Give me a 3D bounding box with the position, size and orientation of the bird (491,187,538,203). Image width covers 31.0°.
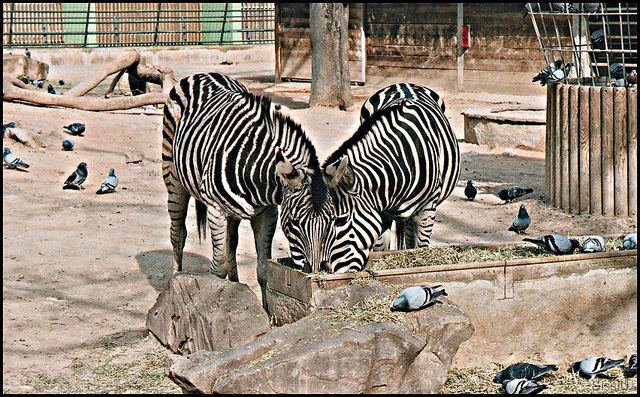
[{"bbox_3d":[3.594,-0.098,21.559,0.823,0.275,0.269,-12,5,3],"label":"bird"}]

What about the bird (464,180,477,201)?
[{"bbox_3d":[2.843,-0.147,21.881,0.225,0.376,0.437,2,5,7],"label":"bird"}]

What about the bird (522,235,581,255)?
[{"bbox_3d":[3.423,0.691,17.078,0.754,0.276,0.332,2,5,9],"label":"bird"}]

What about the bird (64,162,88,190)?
[{"bbox_3d":[-4.579,-0.421,21.673,0.608,0.405,0.236,-22,-18,28],"label":"bird"}]

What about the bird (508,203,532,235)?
[{"bbox_3d":[3.423,0.365,20.033,0.315,0.512,0.544,-11,5,-27],"label":"bird"}]

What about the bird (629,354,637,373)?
[{"bbox_3d":[4.449,2.353,16.531,0.085,0.206,0.150,10,-7,-39],"label":"bird"}]

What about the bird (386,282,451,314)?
[{"bbox_3d":[1.345,1.366,16.095,0.812,0.355,0.333,-24,-26,12],"label":"bird"}]

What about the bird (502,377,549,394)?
[{"bbox_3d":[2.833,2.594,16.197,0.488,0.186,0.230,-10,-5,19],"label":"bird"}]

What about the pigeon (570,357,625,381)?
[{"bbox_3d":[3.953,2.404,16.518,0.807,0.307,0.268,-10,-1,16],"label":"pigeon"}]

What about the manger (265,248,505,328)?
[{"bbox_3d":[0.954,1.159,16.600,2.714,0.634,1.360,-3,5,-19],"label":"manger"}]

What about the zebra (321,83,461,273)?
[{"bbox_3d":[1.100,-0.118,18.175,1.899,2.859,5.928,0,10,14],"label":"zebra"}]

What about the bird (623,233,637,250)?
[{"bbox_3d":[4.563,0.627,17.115,0.186,0.233,0.358,3,5,12],"label":"bird"}]

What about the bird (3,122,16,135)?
[{"bbox_3d":[-6.171,-1.406,23.321,0.244,0.225,0.868,0,5,-15],"label":"bird"}]

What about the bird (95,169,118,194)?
[{"bbox_3d":[-3.987,-0.308,21.929,0.403,0.420,0.498,1,5,-3],"label":"bird"}]

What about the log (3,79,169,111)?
[{"bbox_3d":[-5.281,-2.301,26.114,3.422,0.653,0.930,0,5,-16],"label":"log"}]

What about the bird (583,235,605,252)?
[{"bbox_3d":[4.007,0.673,17.051,0.288,0.219,0.420,3,5,13],"label":"bird"}]

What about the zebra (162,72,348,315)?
[{"bbox_3d":[-1.240,-0.006,18.268,1.577,3.336,5.303,-10,22,-24],"label":"zebra"}]

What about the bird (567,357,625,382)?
[{"bbox_3d":[3.885,2.390,16.530,0.829,0.314,0.267,-18,-31,8],"label":"bird"}]

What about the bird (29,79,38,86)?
[{"bbox_3d":[-7.329,-3.021,30.134,0.129,0.236,0.461,-1,9,-16],"label":"bird"}]

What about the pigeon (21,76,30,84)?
[{"bbox_3d":[-7.292,-2.982,29.324,0.151,0.312,0.610,4,12,-13],"label":"pigeon"}]

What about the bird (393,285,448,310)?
[{"bbox_3d":[1.372,1.362,16.044,0.675,0.298,0.308,-33,-46,7],"label":"bird"}]

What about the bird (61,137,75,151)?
[{"bbox_3d":[-5.058,-1.117,23.586,0.245,0.273,0.264,-2,-5,-10],"label":"bird"}]

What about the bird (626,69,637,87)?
[{"bbox_3d":[5.390,-2.089,20.113,0.184,0.101,0.266,1,-34,2],"label":"bird"}]

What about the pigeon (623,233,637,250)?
[{"bbox_3d":[4.558,0.640,17.092,0.171,0.231,0.097,-9,-18,34],"label":"pigeon"}]

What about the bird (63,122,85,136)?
[{"bbox_3d":[-5.066,-1.462,24.237,0.477,0.197,0.153,15,19,33],"label":"bird"}]
